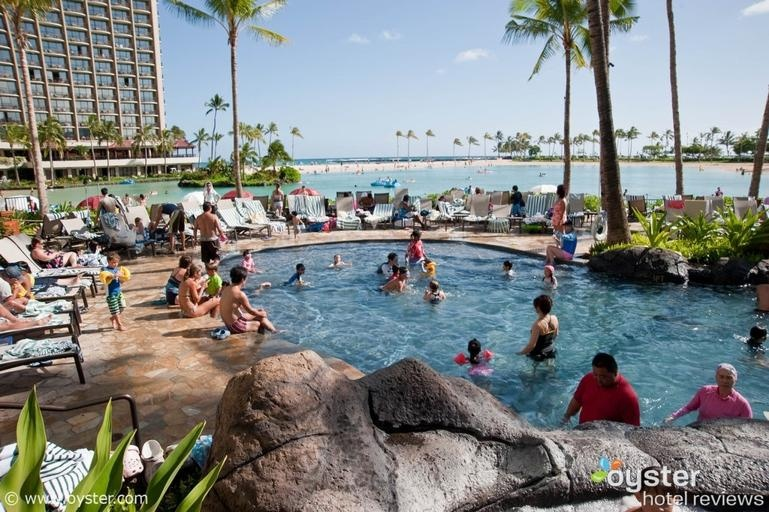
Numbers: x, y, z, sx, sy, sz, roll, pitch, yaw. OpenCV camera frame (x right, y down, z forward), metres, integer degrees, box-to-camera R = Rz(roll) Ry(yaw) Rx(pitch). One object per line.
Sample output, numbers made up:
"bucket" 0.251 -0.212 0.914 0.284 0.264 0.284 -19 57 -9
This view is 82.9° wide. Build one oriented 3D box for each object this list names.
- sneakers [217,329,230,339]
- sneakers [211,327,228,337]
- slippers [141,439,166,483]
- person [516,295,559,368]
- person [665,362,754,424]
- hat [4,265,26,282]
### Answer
"sneakers" -3.286 1.590 8.856 0.245 0.100 0.336 4 13 3
"sneakers" -3.336 1.569 8.827 0.215 0.079 0.217 -5 27 -12
"slippers" -2.676 2.359 5.137 0.218 0.261 0.618 17 25 -28
"person" 3.020 1.352 8.303 0.951 1.271 0.376 -5 16 -31
"person" 4.713 1.979 6.200 0.359 0.897 0.766 -10 19 -44
"hat" -7.412 0.317 8.742 0.280 0.342 0.342 14 15 -8
